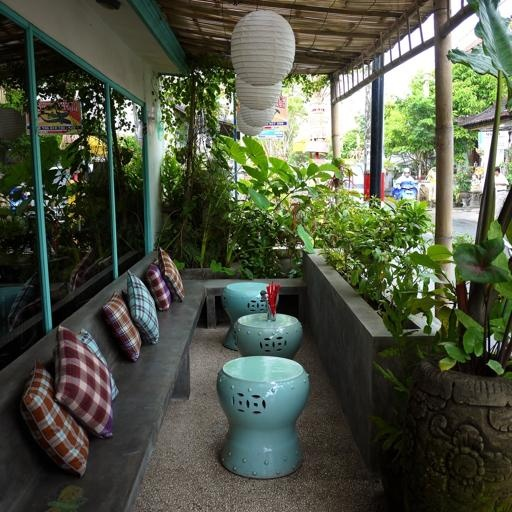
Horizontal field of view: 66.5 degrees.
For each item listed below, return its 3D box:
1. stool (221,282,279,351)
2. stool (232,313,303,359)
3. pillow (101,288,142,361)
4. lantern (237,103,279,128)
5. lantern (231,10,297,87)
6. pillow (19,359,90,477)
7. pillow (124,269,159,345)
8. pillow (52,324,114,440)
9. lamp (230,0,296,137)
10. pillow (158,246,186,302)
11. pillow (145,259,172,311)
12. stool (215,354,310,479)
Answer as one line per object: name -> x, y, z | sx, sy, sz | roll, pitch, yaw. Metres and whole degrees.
stool -> -0.086, 0.640, 4.213 | 0.463, 0.673, 0.617 | 0, 3, -4
stool -> 0.097, 0.672, 3.263 | 0.544, 0.332, 0.386 | -1, 5, -7
pillow -> -0.867, 0.416, 2.507 | 0.161, 0.423, 0.440 | -13, 14, -15
lantern -> -0.020, -1.543, 4.307 | 0.306, 0.259, 0.306 | 20, 30, 37
lantern -> 0.051, -1.683, 3.107 | 0.460, 0.658, 0.534 | 7, 25, 28
pillow -> -0.728, 0.617, 1.372 | 0.185, 0.276, 0.345 | 10, -9, -34
pillow -> -0.808, 0.371, 2.762 | 0.107, 0.255, 0.355 | -9, 37, -9
pillow -> -0.676, 0.451, 1.541 | 0.087, 0.380, 0.361 | -18, 38, 4
lamp -> 0.038, -1.564, 3.217 | 0.474, 1.300, 0.548 | 2, 25, -4
pillow -> -0.841, 0.209, 3.860 | 0.111, 0.464, 0.434 | -13, 28, 5
pillow -> -0.923, 0.229, 3.749 | 0.174, 0.443, 0.556 | -8, 19, -4
stool -> 0.038, 0.922, 2.322 | 0.493, 0.587, 0.505 | -5, 7, -26
